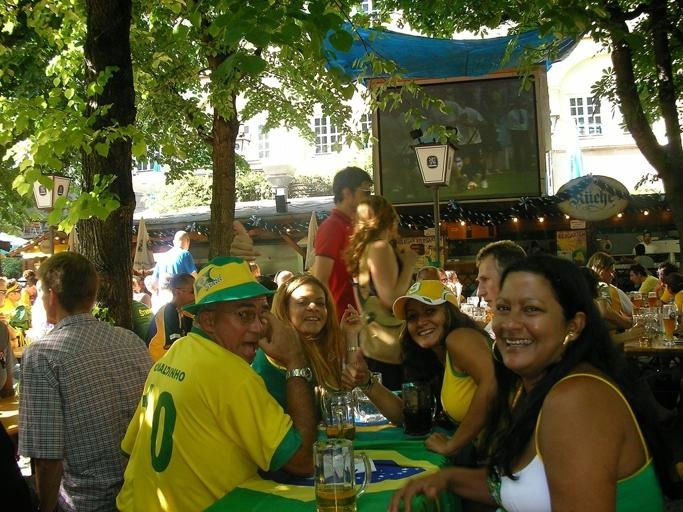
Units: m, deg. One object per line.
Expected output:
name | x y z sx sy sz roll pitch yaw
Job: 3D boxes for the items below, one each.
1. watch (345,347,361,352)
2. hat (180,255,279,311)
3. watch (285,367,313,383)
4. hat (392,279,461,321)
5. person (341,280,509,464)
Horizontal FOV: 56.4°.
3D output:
watch | 0.087 0.646 4.420 0.076 0.027 0.077 -5 -1 4
hat | -0.625 0.151 3.420 0.347 0.172 0.343 -14 -1 16
watch | -0.235 0.648 3.457 0.112 0.070 0.117 -8 -19 25
hat | 0.521 0.243 4.191 0.354 0.243 0.478 -4 -17 28
person | 0.508 0.756 3.974 0.650 0.492 1.009 4 32 -21
